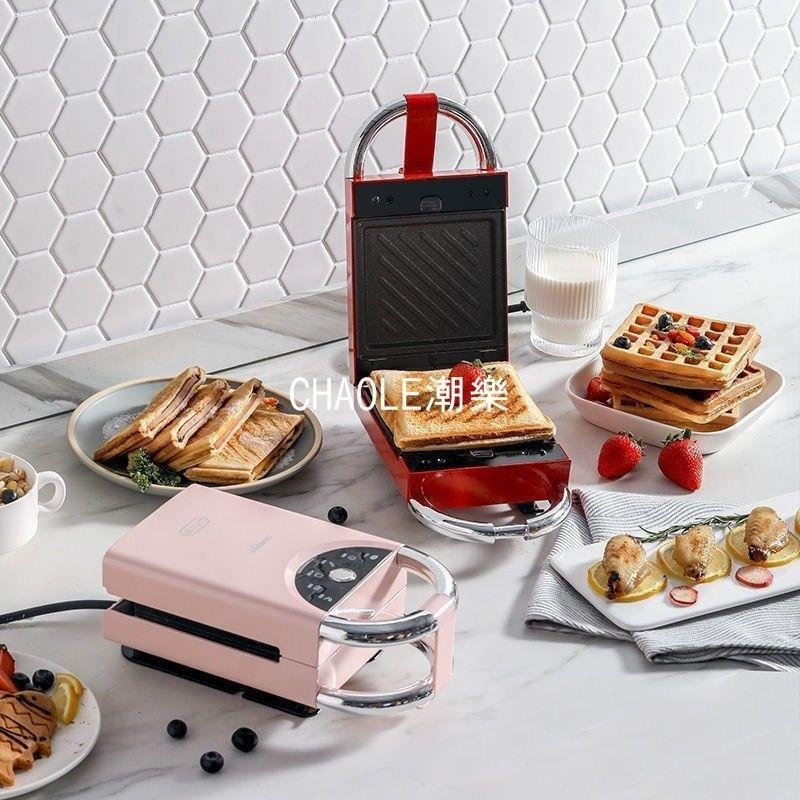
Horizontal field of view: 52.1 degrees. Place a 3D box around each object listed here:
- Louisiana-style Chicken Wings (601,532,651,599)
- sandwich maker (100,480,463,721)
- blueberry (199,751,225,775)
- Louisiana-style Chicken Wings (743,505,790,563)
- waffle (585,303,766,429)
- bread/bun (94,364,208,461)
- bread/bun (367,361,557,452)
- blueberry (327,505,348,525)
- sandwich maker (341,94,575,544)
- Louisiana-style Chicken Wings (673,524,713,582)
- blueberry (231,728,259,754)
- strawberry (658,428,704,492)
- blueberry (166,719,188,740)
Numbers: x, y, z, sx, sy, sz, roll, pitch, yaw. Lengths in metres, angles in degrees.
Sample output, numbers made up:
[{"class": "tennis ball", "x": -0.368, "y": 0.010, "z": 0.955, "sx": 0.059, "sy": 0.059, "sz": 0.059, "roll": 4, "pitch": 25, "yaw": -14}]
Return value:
[{"class": "Louisiana-style Chicken Wings", "x": 0.206, "y": 0.151, "z": 0.758, "sx": 0.046, "sy": 0.022, "sz": 0.066, "roll": 16, "pitch": 49, "yaw": 9}, {"class": "sandwich maker", "x": -0.093, "y": 0.158, "z": 0.659, "sx": 0.288, "sy": 0.092, "sz": 0.143, "roll": 12, "pitch": 30, "yaw": 22}, {"class": "blueberry", "x": -0.134, "y": 0.262, "z": 0.591, "sx": 0.017, "sy": 0.009, "sz": 0.014, "roll": 4, "pitch": 21, "yaw": 4}, {"class": "Louisiana-style Chicken Wings", "x": 0.356, "y": 0.129, "z": 0.784, "sx": 0.040, "sy": 0.017, "sz": 0.054, "roll": 6, "pitch": 34, "yaw": 13}, {"class": "waffle", "x": 0.367, "y": -0.045, "z": 1.083, "sx": 0.203, "sy": 0.097, "sz": 0.227, "roll": 17, "pitch": 31, "yaw": 29}, {"class": "bread/bun", "x": -0.291, "y": 0.015, "z": 0.971, "sx": 0.077, "sy": 0.067, "sz": 0.160, "roll": 7, "pitch": 28, "yaw": 12}, {"class": "bread/bun", "x": 0.062, "y": -0.005, "z": 0.948, "sx": 0.185, "sy": 0.064, "sz": 0.197, "roll": -3, "pitch": 27, "yaw": -8}, {"class": "blueberry", "x": -0.066, "y": 0.125, "z": 0.880, "sx": 0.024, "sy": 0.017, "sz": 0.012, "roll": -2, "pitch": -4, "yaw": -6}, {"class": "sandwich maker", "x": 0.069, "y": -0.086, "z": 0.909, "sx": 0.236, "sy": 0.397, "sz": 0.382, "roll": -11, "pitch": 39, "yaw": -5}, {"class": "Louisiana-style Chicken Wings", "x": 0.279, "y": 0.144, "z": 0.766, "sx": 0.036, "sy": 0.013, "sz": 0.051, "roll": -5, "pitch": 27, "yaw": 13}, {"class": "blueberry", "x": -0.116, "y": 0.253, "z": 0.612, "sx": 0.020, "sy": 0.016, "sz": 0.018, "roll": -1, "pitch": 29, "yaw": -3}, {"class": "strawberry", "x": 0.334, "y": 0.072, "z": 0.955, "sx": 0.053, "sy": 0.050, "sz": 0.056, "roll": -15, "pitch": 58, "yaw": 40}, {"class": "blueberry", "x": -0.169, "y": 0.249, "z": 0.622, "sx": 0.016, "sy": 0.013, "sz": 0.017, "roll": -9, "pitch": 30, "yaw": -17}]
